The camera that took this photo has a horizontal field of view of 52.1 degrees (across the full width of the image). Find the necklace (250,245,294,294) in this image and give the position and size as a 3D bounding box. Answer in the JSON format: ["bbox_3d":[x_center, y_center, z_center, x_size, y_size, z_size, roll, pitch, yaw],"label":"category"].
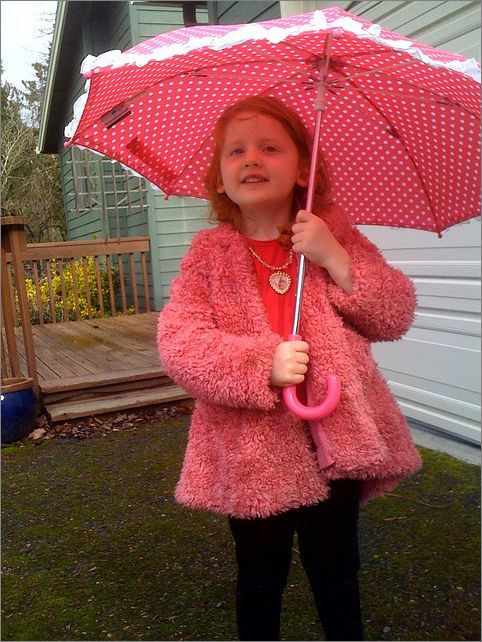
[{"bbox_3d":[0.069,-0.114,1.121,0.138,0.145,0.021,0,-32,-12],"label":"necklace"}]
